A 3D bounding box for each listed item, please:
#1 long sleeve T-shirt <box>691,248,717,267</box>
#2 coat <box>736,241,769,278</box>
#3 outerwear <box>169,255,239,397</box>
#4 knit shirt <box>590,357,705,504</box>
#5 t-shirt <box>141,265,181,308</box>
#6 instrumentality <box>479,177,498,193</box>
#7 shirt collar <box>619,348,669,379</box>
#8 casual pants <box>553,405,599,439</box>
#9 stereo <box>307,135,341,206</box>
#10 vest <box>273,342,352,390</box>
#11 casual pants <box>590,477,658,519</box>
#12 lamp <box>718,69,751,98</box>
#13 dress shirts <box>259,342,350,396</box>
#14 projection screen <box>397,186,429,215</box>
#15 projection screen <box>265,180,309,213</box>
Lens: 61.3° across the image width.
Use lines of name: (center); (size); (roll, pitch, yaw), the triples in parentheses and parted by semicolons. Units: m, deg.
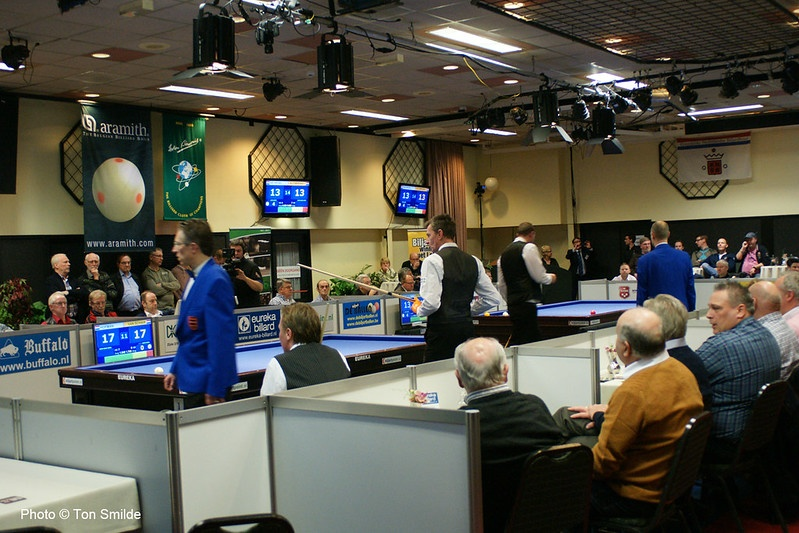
long sleeve T-shirt: (6.275, -0.147, 13.974); (0.492, 0.267, 0.488); (-13, 20, -5)
coat: (6.861, -0.100, 13.194); (0.436, 0.700, 0.553); (25, -24, -20)
outerwear: (-1.329, 0.421, 4.603); (0.443, 0.909, 0.282); (0, 4, 40)
knit shirt: (1.429, 0.965, 3.890); (0.668, 0.832, 0.213); (-3, 3, -11)
t-shirt: (-4.090, 0.375, 11.570); (0.419, 0.727, 0.548); (-3, 9, 35)
instrumentality: (2.423, -2.202, 18.289); (0.456, 0.408, 0.588); (-2, 2, 10)
shirt collar: (1.435, 0.584, 3.970); (0.231, 0.061, 0.184); (-28, -10, 12)
casual pants: (1.080, 0.987, 4.207); (0.191, 0.073, 0.179); (-4, 28, -12)
stereo: (-1.665, -2.080, 14.574); (0.720, 1.523, 0.544); (-6, 10, -4)
vest: (-0.590, 0.698, 4.710); (0.455, 0.454, 0.257); (-16, 30, -6)
casual pants: (1.256, 1.440, 4.020); (0.387, 0.117, 0.370); (5, 12, -2)
lamp: (4.975, -2.745, 10.059); (0.364, 0.394, 0.539); (-1, 3, 23)
dress shirts: (-0.617, 0.801, 4.690); (0.672, 0.455, 0.344); (-1, -10, -39)
projection screen: (0.310, -1.572, 16.284); (0.256, 0.763, 0.975); (0, 3, 43)
projection screen: (-2.273, -1.401, 13.792); (1.206, 0.794, 0.136); (4, 4, 28)
